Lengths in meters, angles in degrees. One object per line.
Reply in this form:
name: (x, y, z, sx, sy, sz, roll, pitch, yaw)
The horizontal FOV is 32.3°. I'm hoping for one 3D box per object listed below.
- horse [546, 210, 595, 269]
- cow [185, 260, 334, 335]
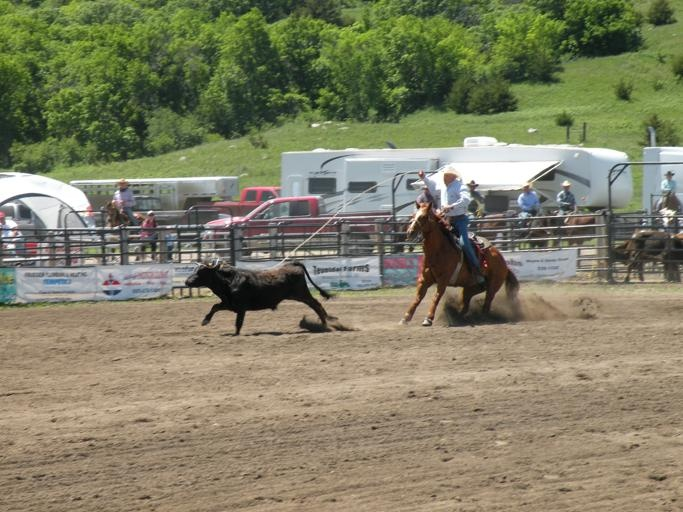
horse: (6.618, -0.597, 33.929, 1.253, 1.259, 0.996, 10, 17, 43)
cow: (-1.956, 0.967, 26.763, 2.961, 1.341, 0.652, -3, 1, -13)
